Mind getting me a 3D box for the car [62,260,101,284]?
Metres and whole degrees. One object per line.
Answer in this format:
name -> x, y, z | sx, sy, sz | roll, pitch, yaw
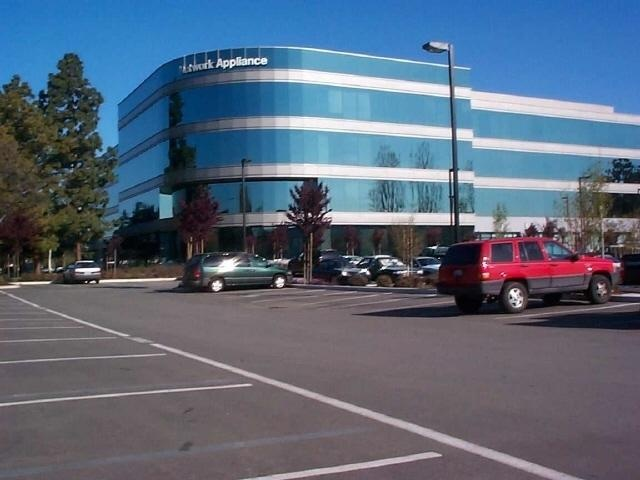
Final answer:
car -> -17.771, 2.458, 45.002 | 2.359, 1.765, 3.907 | -1, 0, -26
